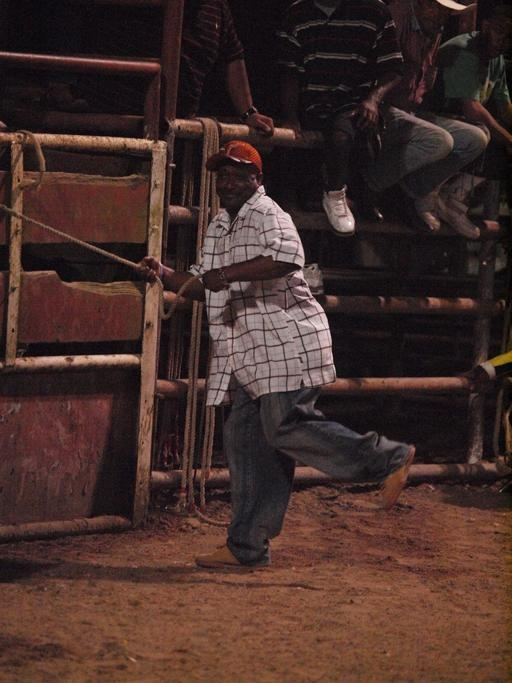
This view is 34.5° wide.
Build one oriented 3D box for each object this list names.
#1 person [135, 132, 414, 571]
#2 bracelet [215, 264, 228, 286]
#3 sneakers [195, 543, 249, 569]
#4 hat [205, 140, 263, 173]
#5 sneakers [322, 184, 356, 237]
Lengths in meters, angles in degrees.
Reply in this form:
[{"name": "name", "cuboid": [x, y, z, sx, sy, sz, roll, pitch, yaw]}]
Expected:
[{"name": "person", "cuboid": [0.087, 0.089, 3.771, 1.231, 1.974, 0.481, 4, 6, 8]}, {"name": "bracelet", "cuboid": [-0.145, -0.280, 3.543, 0.053, 0.084, 0.029, 3, 6, -4]}, {"name": "sneakers", "cuboid": [-0.167, 1.017, 3.883, 0.305, 0.102, 0.096, 2, -2, 7]}, {"name": "hat", "cuboid": [-0.068, -0.850, 3.726, 0.165, 0.092, 0.196, -5, -26, 31]}, {"name": "sneakers", "cuboid": [0.516, -0.810, 5.051, 0.136, 0.334, 0.153, -23, -26, -3]}]
